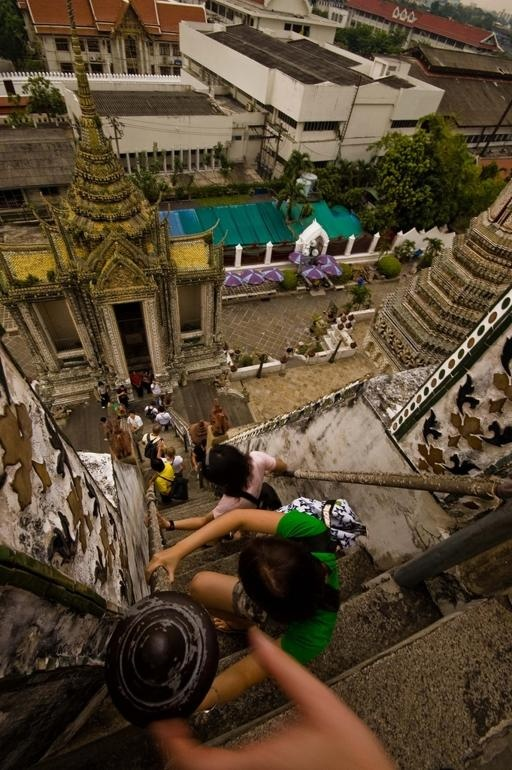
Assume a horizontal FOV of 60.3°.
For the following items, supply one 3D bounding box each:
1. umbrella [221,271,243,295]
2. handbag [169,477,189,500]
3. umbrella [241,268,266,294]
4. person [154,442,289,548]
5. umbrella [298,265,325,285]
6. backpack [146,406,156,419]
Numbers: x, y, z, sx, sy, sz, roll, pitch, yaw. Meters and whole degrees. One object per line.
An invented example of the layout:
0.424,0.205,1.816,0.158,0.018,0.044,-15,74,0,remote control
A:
-0.984,-4.439,19.086,0.799,1.157,1.295,8,46,-5,umbrella
-1.261,1.771,7.548,0.344,0.455,0.358,-1,9,-2,handbag
-0.177,-4.605,19.458,0.954,1.040,1.234,12,46,0,umbrella
-0.397,1.173,4.744,0.779,1.365,0.686,18,69,12,person
2.587,-5.042,20.512,0.975,0.909,1.081,15,46,2,umbrella
-2.876,0.721,12.119,0.294,0.332,0.174,11,47,6,backpack
